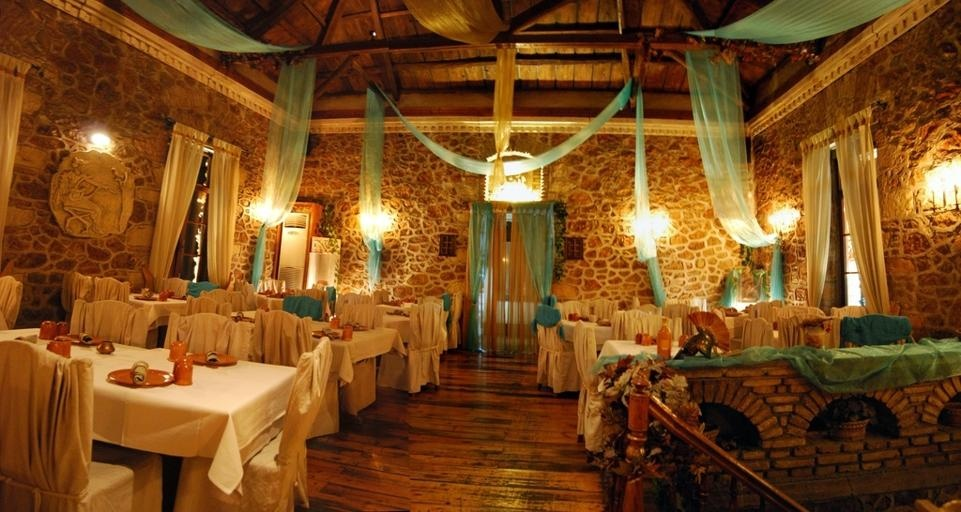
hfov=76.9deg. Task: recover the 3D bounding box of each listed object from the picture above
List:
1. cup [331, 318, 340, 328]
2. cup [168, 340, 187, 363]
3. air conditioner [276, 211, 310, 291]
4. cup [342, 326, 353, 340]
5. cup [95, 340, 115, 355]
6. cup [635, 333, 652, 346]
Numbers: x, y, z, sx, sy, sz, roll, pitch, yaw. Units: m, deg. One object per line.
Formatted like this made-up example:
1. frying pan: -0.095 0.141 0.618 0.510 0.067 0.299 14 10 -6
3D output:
1. cup: -2.240 1.026 9.292 0.159 0.158 0.150 3 6 0
2. cup: -3.882 1.224 7.715 0.299 0.255 0.286 8 1 0
3. air conditioner: -4.124 0.053 13.293 0.600 1.771 0.172 5 0 -1
4. cup: -1.958 1.115 8.889 0.142 0.219 0.128 5 -7 -20
5. cup: -4.929 1.195 7.920 0.203 0.121 0.190 11 2 0
6. cup: 2.452 1.238 8.992 0.260 0.164 0.183 0 -7 12
